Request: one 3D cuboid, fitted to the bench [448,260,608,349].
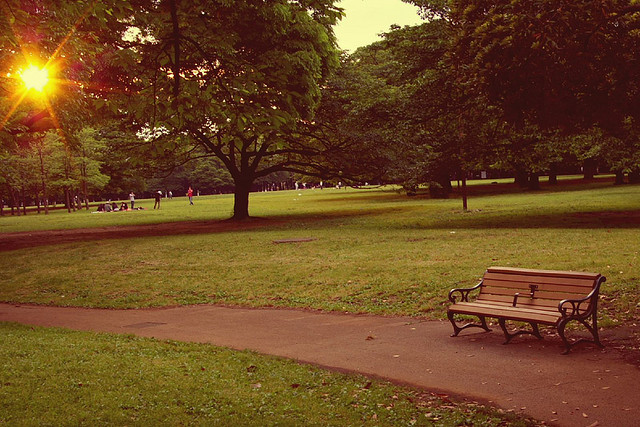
[{"bbox_3d":[4.954,2.047,15.829,4.103,1.740,2.944,6,13,40],"label":"bench"}]
